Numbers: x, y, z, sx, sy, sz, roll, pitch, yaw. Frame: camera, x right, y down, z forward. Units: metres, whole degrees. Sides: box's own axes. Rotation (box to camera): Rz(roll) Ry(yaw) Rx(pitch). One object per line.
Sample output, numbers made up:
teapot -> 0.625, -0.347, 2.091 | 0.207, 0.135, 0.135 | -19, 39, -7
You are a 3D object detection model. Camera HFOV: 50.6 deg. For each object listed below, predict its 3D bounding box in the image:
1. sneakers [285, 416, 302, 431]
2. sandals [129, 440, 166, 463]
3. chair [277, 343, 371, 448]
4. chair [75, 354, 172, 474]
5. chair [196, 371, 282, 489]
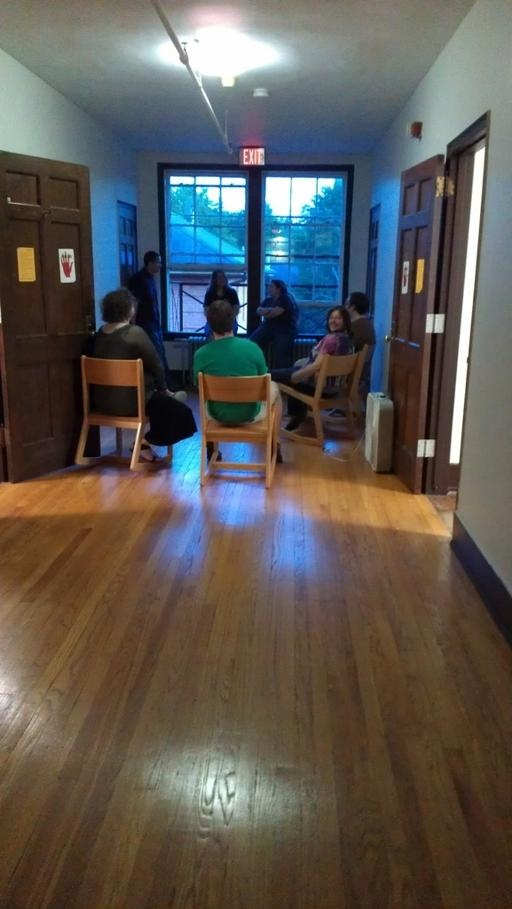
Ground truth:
sneakers -> 0.387, -0.287, 5.676 | 0.119, 0.178, 0.157 | 1, -13, 3
sandals -> -0.951, -0.037, 4.719 | 0.460, 0.218, 0.151 | 3, 8, 43
chair -> 0.699, -0.550, 5.444 | 0.609, 1.229, 0.796 | -15, 33, -30
chair -> -1.099, -0.401, 4.345 | 0.521, 1.246, 0.892 | 3, 22, 6
chair -> -0.133, -0.179, 4.094 | 0.588, 0.819, 0.791 | 1, 6, 0
